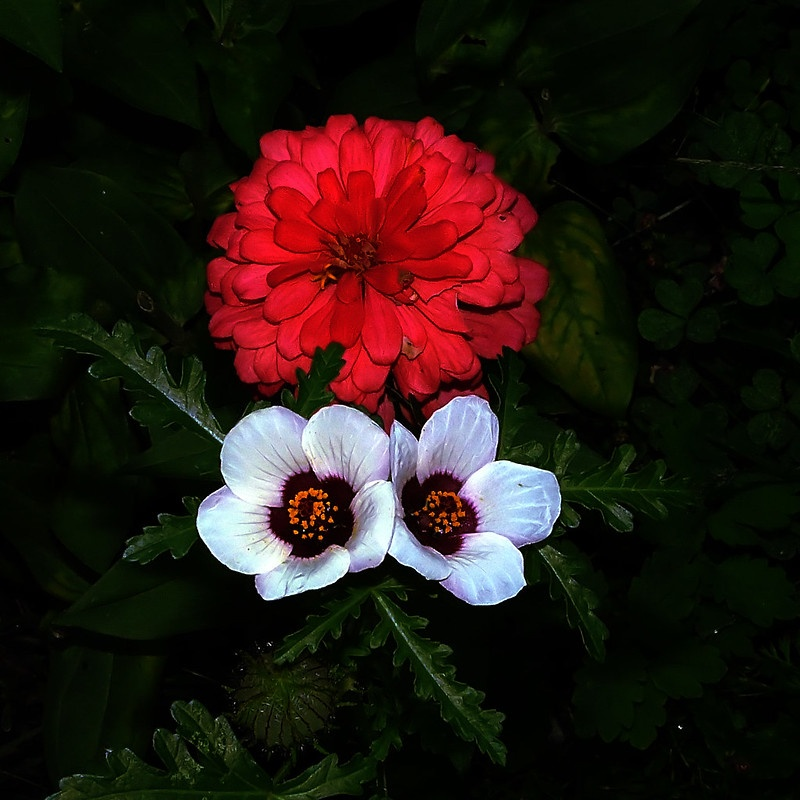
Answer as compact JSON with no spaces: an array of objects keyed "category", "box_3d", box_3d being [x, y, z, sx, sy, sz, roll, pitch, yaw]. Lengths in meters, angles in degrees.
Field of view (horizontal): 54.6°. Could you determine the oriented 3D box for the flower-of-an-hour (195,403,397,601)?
[{"category":"flower-of-an-hour","box_3d":[-0.128,0.158,1.099,0.261,0.141,0.317,-3,43,-17]}]
